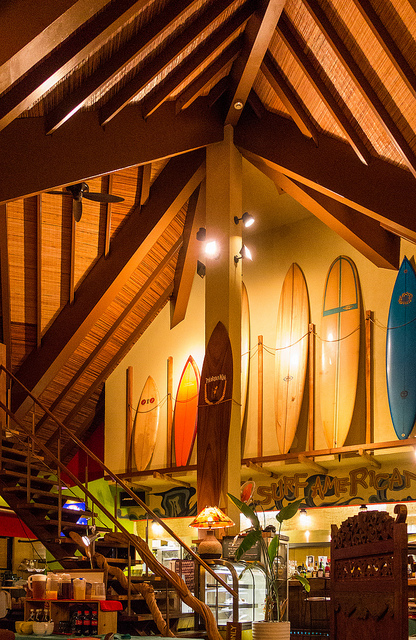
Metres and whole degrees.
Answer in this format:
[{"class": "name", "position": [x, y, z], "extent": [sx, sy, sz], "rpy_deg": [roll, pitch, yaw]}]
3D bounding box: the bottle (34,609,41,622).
[{"class": "bottle", "position": [-1.140, 1.953, 6.458], "extent": [0.037, 0.074, 0.083], "rpy_deg": [6, -18, -19]}]

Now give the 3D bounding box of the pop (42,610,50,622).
[{"class": "pop", "position": [-1.079, 1.947, 6.438], "extent": [0.042, 0.065, 0.040], "rpy_deg": [5, -16, -16]}]

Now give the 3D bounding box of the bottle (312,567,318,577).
[{"class": "bottle", "position": [1.166, 2.750, 10.608], "extent": [0.051, 0.115, 0.058], "rpy_deg": [-1, -2, 26]}]

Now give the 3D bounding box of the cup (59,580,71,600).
[{"class": "cup", "position": [-0.961, 1.790, 6.479], "extent": [0.084, 0.150, 0.082], "rpy_deg": [-2, -17, -1]}]

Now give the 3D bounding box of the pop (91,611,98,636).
[{"class": "pop", "position": [-0.731, 1.928, 6.212], "extent": [0.037, 0.144, 0.082], "rpy_deg": [4, -16, -13]}]

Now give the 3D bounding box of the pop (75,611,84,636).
[{"class": "pop", "position": [-0.838, 1.946, 6.271], "extent": [0.061, 0.144, 0.049], "rpy_deg": [-3, -15, 11]}]

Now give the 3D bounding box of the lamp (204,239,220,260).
[{"class": "lamp", "position": [0.043, -0.751, 10.406], "extent": [0.151, 0.228, 0.134], "rpy_deg": [0, -16, 1]}]

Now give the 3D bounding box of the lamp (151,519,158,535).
[{"class": "lamp", "position": [-0.784, 2.984, 14.026], "extent": [0.093, 0.169, 0.268], "rpy_deg": [1, -18, -3]}]

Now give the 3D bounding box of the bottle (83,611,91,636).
[{"class": "bottle", "position": [-0.783, 1.938, 6.250], "extent": [0.073, 0.140, 0.035], "rpy_deg": [-8, -17, 29]}]

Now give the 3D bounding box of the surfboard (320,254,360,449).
[{"class": "surfboard", "position": [1.681, -0.222, 12.351], "extent": [0.448, 0.307, 2.537], "rpy_deg": [-10, 22, 13]}]

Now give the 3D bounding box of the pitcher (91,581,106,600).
[{"class": "pitcher", "position": [-0.750, 1.822, 6.559], "extent": [0.082, 0.193, 0.091], "rpy_deg": [-3, -5, 33]}]

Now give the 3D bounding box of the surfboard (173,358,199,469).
[{"class": "surfboard", "position": [-0.308, 1.239, 13.308], "extent": [0.257, 1.527, 0.557], "rpy_deg": [9, -17, -31]}]

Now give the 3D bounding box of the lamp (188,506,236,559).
[{"class": "lamp", "position": [0.023, 1.913, 8.799], "extent": [0.349, 0.523, 0.414], "rpy_deg": [-3, -15, 18]}]

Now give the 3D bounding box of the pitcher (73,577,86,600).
[{"class": "pitcher", "position": [-0.859, 1.770, 6.431], "extent": [0.088, 0.154, 0.094], "rpy_deg": [-16, -23, 34]}]

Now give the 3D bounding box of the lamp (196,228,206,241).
[{"class": "lamp", "position": [-0.075, -0.941, 10.828], "extent": [0.100, 0.124, 0.024], "rpy_deg": [-6, 22, -41]}]

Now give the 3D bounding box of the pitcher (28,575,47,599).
[{"class": "pitcher", "position": [-1.171, 1.827, 6.644], "extent": [0.135, 0.186, 0.123], "rpy_deg": [-2, -30, -2]}]

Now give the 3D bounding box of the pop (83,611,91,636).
[{"class": "pop", "position": [-0.782, 1.938, 6.251], "extent": [0.074, 0.140, 0.033], "rpy_deg": [-9, -17, 30]}]

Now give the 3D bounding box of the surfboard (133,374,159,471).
[{"class": "surfboard", "position": [-0.925, 1.616, 14.015], "extent": [0.300, 1.564, 1.245], "rpy_deg": [3, 20, -8]}]

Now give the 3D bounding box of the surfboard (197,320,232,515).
[{"class": "surfboard", "position": [0.048, 0.940, 10.123], "extent": [0.375, 0.289, 3.126], "rpy_deg": [-16, -36, -13]}]

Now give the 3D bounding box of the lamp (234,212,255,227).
[{"class": "lamp", "position": [0.406, -1.095, 10.498], "extent": [0.175, 0.168, 0.109], "rpy_deg": [-9, -12, 39]}]

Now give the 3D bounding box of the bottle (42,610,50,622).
[{"class": "bottle", "position": [-1.082, 1.959, 6.438], "extent": [0.038, 0.096, 0.044], "rpy_deg": [2, -8, -21]}]

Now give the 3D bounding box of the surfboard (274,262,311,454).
[{"class": "surfboard", "position": [1.085, 0.522, 12.430], "extent": [0.364, 2.565, 0.201], "rpy_deg": [-18, -36, 37]}]

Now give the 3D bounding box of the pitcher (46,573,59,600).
[{"class": "pitcher", "position": [-1.066, 1.796, 6.563], "extent": [0.093, 0.232, 0.115], "rpy_deg": [2, -11, -13]}]

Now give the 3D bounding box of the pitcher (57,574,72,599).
[{"class": "pitcher", "position": [-0.978, 1.780, 6.507], "extent": [0.074, 0.166, 0.129], "rpy_deg": [8, -26, -22]}]

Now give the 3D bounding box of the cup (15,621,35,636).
[{"class": "cup", "position": [-1.208, 1.988, 6.308], "extent": [0.072, 0.082, 0.093], "rpy_deg": [-8, -16, 41]}]

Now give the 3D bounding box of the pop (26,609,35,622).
[{"class": "pop", "position": [-1.194, 1.964, 6.500], "extent": [0.029, 0.070, 0.079], "rpy_deg": [12, -21, -35]}]

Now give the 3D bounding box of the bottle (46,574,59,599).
[{"class": "bottle", "position": [-1.061, 1.788, 6.565], "extent": [0.092, 0.241, 0.117], "rpy_deg": [-1, -12, 2]}]
